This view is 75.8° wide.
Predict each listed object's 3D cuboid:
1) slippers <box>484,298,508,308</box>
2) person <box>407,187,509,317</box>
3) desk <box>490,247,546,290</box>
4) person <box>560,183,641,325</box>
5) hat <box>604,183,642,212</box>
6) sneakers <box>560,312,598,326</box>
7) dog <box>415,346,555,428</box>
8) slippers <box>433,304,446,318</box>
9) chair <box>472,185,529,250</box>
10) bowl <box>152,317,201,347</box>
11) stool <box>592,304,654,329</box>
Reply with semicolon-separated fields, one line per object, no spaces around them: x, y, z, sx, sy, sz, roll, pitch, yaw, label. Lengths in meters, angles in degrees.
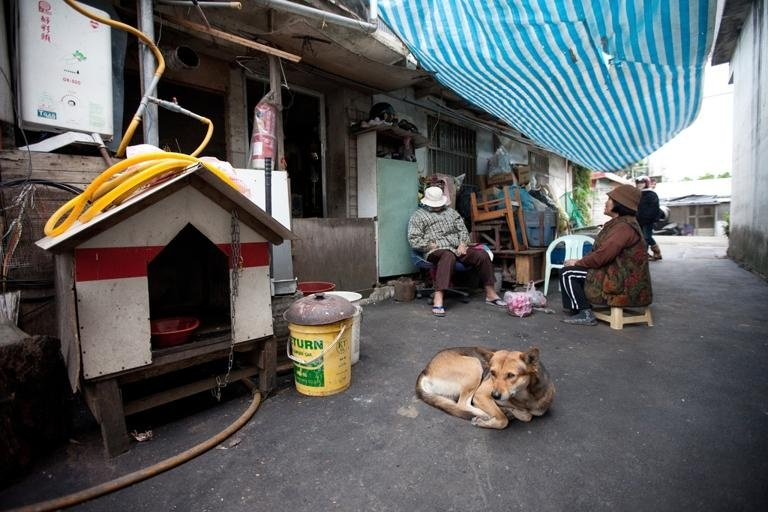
1.658;0.703;7.352;0.107;0.088;0.264;-4;3;-41;slippers
1.022;-0.166;7.561;1.073;1.796;1.275;-4;7;-21;person
2.293;0.186;8.467;0.738;0.696;0.746;-2;-1;36;desk
2.784;-0.010;6.296;0.984;1.774;0.453;1;7;27;person
3.024;-0.731;6.225;0.345;0.345;0.188;1;7;24;hat
2.519;0.811;6.380;0.426;0.199;0.172;3;3;18;sneakers
0.929;1.092;4.621;1.197;0.749;0.848;5;14;43;dog
0.761;0.758;6.878;0.190;0.130;0.219;-1;6;7;slippers
1.987;-0.509;8.857;0.925;1.321;0.824;-6;-10;9;chair
-1.957;0.700;4.626;0.396;0.147;0.614;-4;6;-25;bowl
3.099;0.792;6.338;0.428;0.187;0.427;-1;4;-20;stool
